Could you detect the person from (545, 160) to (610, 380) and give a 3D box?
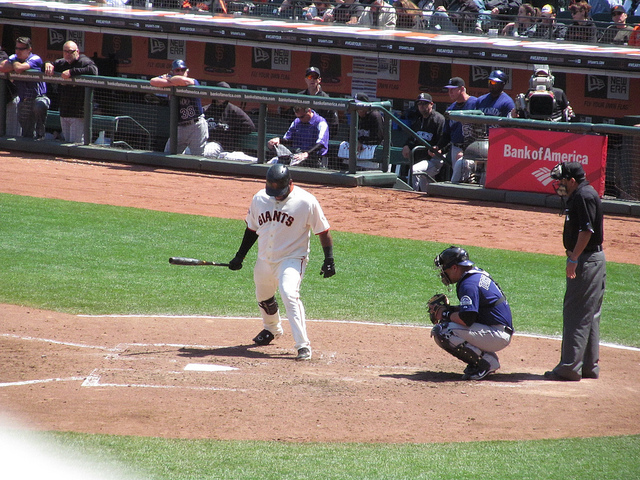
[{"bbox_3d":[3.233,0.403,16.349,0.666,2.723,0.413,3,5,7],"label":"person"}]

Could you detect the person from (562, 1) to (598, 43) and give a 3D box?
[{"bbox_3d":[5.006,-4.211,25.083,0.648,0.844,1.097,3,5,10],"label":"person"}]

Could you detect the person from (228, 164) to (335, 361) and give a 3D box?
[{"bbox_3d":[-0.464,0.280,16.870,1.196,2.497,0.654,5,6,29],"label":"person"}]

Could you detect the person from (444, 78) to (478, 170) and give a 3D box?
[{"bbox_3d":[2.547,-2.094,23.579,0.577,1.630,1.534,2,5,5],"label":"person"}]

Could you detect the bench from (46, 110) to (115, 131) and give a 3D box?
[{"bbox_3d":[-4.616,-2.322,25.309,1.842,0.201,0.393,1,-12,0],"label":"bench"}]

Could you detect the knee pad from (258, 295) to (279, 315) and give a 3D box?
[{"bbox_3d":[-0.623,0.854,17.006,0.262,0.177,0.207,-7,30,45],"label":"knee pad"}]

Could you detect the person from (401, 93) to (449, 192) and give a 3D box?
[{"bbox_3d":[1.921,-1.795,24.168,0.796,1.815,1.152,2,5,3],"label":"person"}]

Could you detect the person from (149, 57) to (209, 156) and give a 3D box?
[{"bbox_3d":[-2.623,-2.491,24.759,0.996,1.764,1.386,1,5,-5],"label":"person"}]

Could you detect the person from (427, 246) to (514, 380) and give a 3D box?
[{"bbox_3d":[1.898,0.927,16.647,1.223,1.548,1.078,-2,3,0],"label":"person"}]

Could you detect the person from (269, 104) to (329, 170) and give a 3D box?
[{"bbox_3d":[-0.376,-1.876,23.739,1.008,1.172,0.928,2,5,0],"label":"person"}]
